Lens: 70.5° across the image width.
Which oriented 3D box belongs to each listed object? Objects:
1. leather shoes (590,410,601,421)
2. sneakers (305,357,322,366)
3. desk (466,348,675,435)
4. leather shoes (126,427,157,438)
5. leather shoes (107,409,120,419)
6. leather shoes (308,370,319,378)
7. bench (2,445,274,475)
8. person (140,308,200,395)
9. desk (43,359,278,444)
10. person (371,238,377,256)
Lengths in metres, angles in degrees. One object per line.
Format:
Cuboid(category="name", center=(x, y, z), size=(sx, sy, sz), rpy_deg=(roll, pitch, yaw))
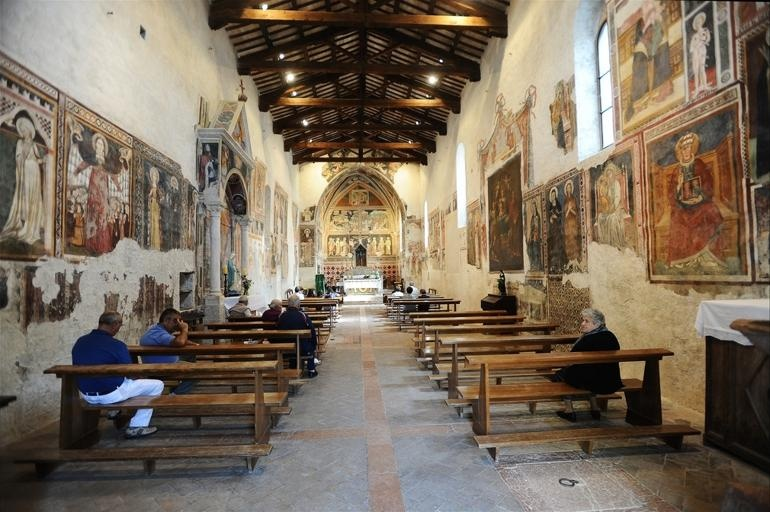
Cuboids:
Cuboid(category="leather shoes", center=(3.084, 2.341, 7.950), size=(0.143, 0.145, 0.141), rpy_deg=(-2, -12, 17))
Cuboid(category="sneakers", center=(-1.391, 2.062, 10.530), size=(0.312, 0.094, 0.198), rpy_deg=(1, -5, -12))
Cuboid(category="desk", center=(2.549, 1.866, 7.513), size=(2.689, 1.075, 0.706), rpy_deg=(-1, -6, -7))
Cuboid(category="leather shoes", center=(-3.409, 2.449, 7.652), size=(0.414, 0.168, 0.149), rpy_deg=(1, -1, -32))
Cuboid(category="leather shoes", center=(-3.921, 2.288, 7.858), size=(0.103, 0.103, 0.253), rpy_deg=(4, -7, -9))
Cuboid(category="leather shoes", center=(-1.347, 2.228, 10.270), size=(0.093, 0.126, 0.193), rpy_deg=(2, 5, 13))
Cuboid(category="bench", center=(-3.021, 2.577, 6.863), size=(3.067, 0.357, 0.525), rpy_deg=(-2, -6, -2))
Cuboid(category="person", center=(-3.369, 1.596, 8.553), size=(0.904, 1.418, 0.843), rpy_deg=(-1, -5, -23))
Cuboid(category="desk", center=(-2.918, 1.983, 7.423), size=(2.760, 1.102, 1.242), rpy_deg=(-1, -6, -2))
Cuboid(category="person", center=(-0.723, -0.610, 36.000), size=(0.416, 1.018, 0.128), rpy_deg=(0, -6, -17))
